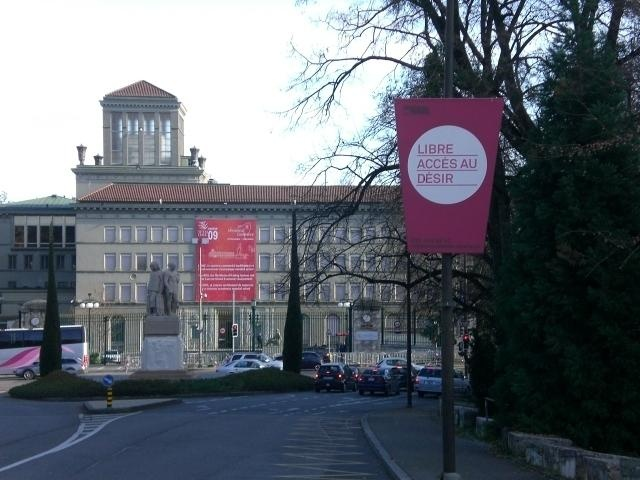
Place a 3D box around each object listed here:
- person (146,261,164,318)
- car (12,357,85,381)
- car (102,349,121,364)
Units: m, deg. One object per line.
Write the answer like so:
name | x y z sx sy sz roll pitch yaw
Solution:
person | -7.720 2.251 58.267 0.757 2.525 0.951 -1 -7 -8
car | -16.414 7.742 74.196 2.477 1.189 5.286 6 -12 -44
car | -14.933 8.465 89.810 0.953 0.932 1.602 -3 1 -23
